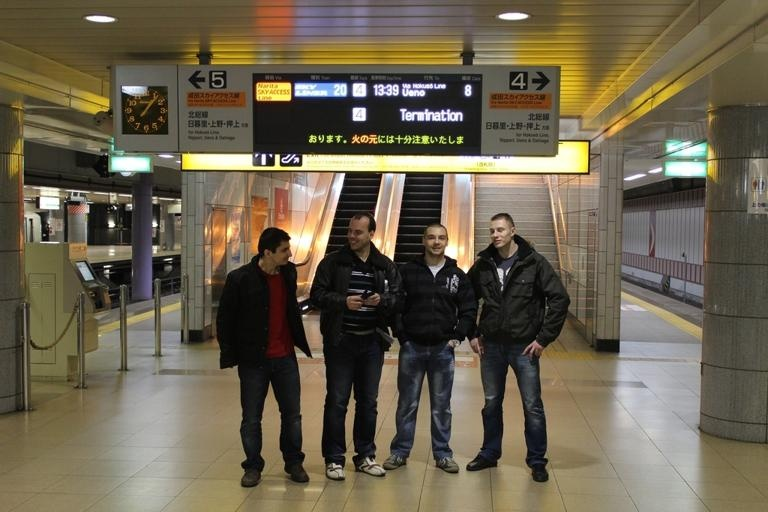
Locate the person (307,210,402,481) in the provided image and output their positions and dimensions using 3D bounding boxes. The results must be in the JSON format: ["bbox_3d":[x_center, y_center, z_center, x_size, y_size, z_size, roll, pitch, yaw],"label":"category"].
[{"bbox_3d":[-0.261,0.808,4.914,0.790,2.343,0.429,0,4,-1],"label":"person"}]

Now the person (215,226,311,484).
[{"bbox_3d":[-1.060,0.879,4.860,0.797,2.243,0.396,-1,4,-16],"label":"person"}]

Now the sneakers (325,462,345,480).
[{"bbox_3d":[-0.430,1.914,4.906,0.153,0.135,0.121,0,4,-10],"label":"sneakers"}]

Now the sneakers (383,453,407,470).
[{"bbox_3d":[0.101,1.913,5.116,0.099,0.089,0.249,-5,-10,28],"label":"sneakers"}]

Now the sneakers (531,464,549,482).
[{"bbox_3d":[1.422,1.942,4.948,0.154,0.126,0.133,1,4,14],"label":"sneakers"}]

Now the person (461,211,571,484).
[{"bbox_3d":[1.233,0.802,5.126,0.888,2.374,0.651,0,4,1],"label":"person"}]

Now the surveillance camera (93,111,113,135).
[{"bbox_3d":[-3.348,-1.583,6.492,0.171,0.320,0.495,-2,4,-28],"label":"surveillance camera"}]

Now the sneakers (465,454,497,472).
[{"bbox_3d":[0.917,1.921,5.116,0.339,0.123,0.116,1,-3,-10],"label":"sneakers"}]

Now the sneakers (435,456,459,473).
[{"bbox_3d":[0.598,1.937,5.116,0.100,0.089,0.241,2,-8,-20],"label":"sneakers"}]

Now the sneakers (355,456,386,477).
[{"bbox_3d":[-0.124,1.916,5.025,0.297,0.114,0.125,-4,-5,38],"label":"sneakers"}]
